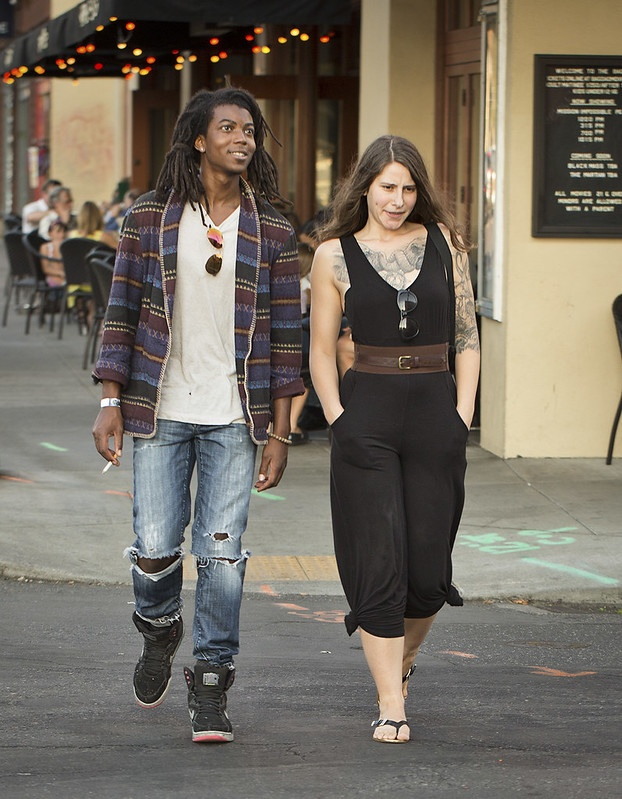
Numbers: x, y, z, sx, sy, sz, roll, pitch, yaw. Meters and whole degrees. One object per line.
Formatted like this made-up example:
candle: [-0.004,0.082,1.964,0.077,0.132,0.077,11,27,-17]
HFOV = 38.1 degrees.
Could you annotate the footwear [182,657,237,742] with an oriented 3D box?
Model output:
footwear: [-0.265,0.781,2.351,0.130,0.198,0.172,2,-3,-9]

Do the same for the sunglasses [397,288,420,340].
sunglasses: [0.244,-0.212,2.271,0.057,0.122,0.033,2,-3,2]

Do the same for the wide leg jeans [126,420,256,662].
wide leg jeans: [-0.320,0.377,2.396,0.318,0.636,0.246,2,-3,-10]

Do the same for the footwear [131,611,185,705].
footwear: [-0.425,0.724,2.476,0.124,0.279,0.185,8,-12,7]

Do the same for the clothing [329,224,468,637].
clothing: [0.229,0.059,2.347,0.347,1.083,0.214,2,-3,1]
